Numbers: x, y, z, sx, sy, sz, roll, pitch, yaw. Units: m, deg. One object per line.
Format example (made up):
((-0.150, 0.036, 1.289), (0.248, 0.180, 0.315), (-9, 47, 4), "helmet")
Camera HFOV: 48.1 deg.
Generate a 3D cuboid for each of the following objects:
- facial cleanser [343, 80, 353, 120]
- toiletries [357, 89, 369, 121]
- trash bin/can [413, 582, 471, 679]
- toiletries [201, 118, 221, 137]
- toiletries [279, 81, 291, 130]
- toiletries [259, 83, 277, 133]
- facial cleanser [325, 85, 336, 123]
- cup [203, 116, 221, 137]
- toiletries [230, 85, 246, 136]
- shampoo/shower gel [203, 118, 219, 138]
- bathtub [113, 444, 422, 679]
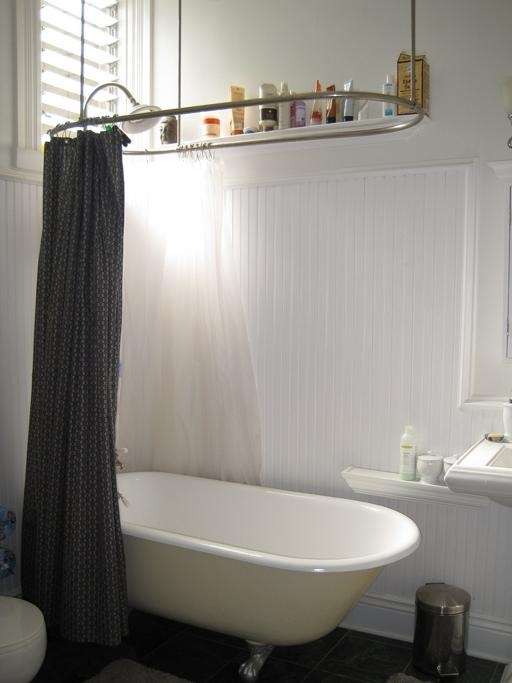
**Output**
((0.367, -0.946, 2.274), (0.044, 0.183, 0.087), (1, 5, 8), "facial cleanser")
((0.420, -0.904, 2.263), (0.041, 0.116, 0.130), (2, 6, 9), "toiletries")
((0.646, 1.038, 2.145), (0.184, 0.327, 0.261), (1, 3, 16), "trash bin/can")
((-0.199, -0.956, 2.629), (0.078, 0.096, 0.077), (-9, 13, -41), "toiletries")
((0.126, -0.994, 2.456), (0.041, 0.212, 0.045), (1, -3, -3), "toiletries")
((0.056, -0.992, 2.465), (0.076, 0.216, 0.123), (1, 5, 0), "toiletries")
((0.307, -0.961, 2.355), (0.047, 0.192, 0.177), (1, 5, 7), "facial cleanser")
((-0.201, -0.967, 2.612), (0.082, 0.100, 0.080), (0, 12, 0), "cup")
((-0.081, -1.010, 2.578), (0.058, 0.224, 0.048), (-3, 8, -24), "toiletries")
((-0.199, -0.955, 2.628), (0.076, 0.095, 0.076), (-10, 14, -39), "shampoo/shower gel")
((-0.053, 0.783, 2.147), (1.287, 0.412, 0.676), (5, 7, 32), "bathtub")
